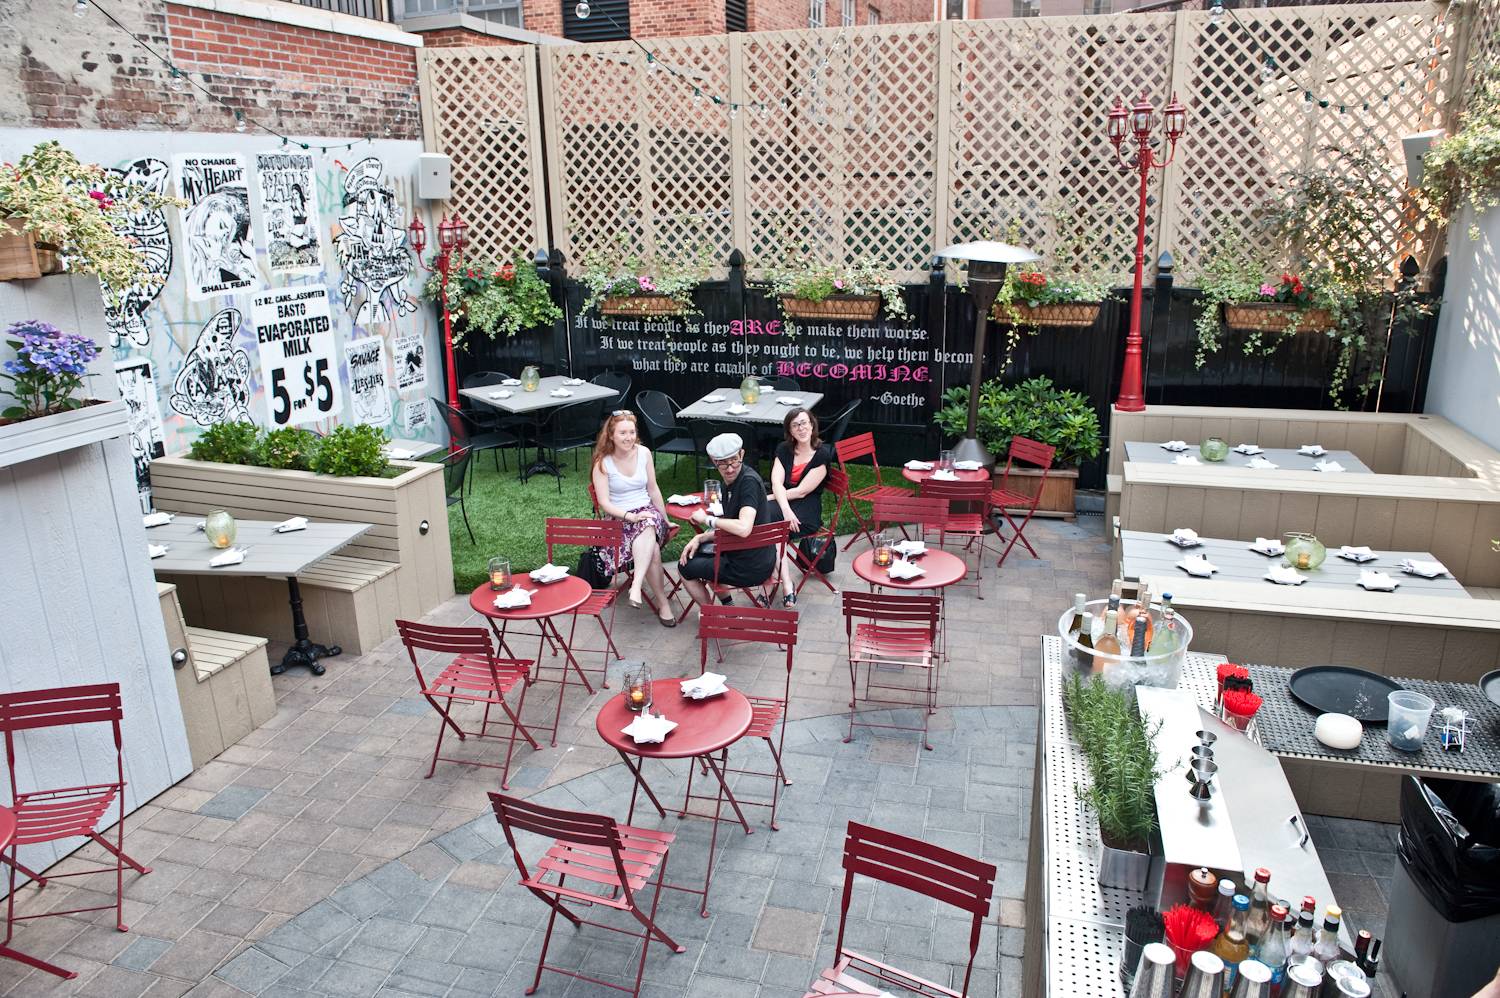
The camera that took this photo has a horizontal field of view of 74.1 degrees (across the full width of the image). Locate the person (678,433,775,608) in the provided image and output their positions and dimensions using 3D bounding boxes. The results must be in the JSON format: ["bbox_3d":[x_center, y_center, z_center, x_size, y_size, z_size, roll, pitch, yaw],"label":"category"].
[{"bbox_3d":[-0.191,0.373,8.768,0.896,1.795,0.733,0,12,-33],"label":"person"}]

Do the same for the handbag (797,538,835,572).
[{"bbox_3d":[0.655,0.508,9.760,0.394,0.561,0.310,0,2,-1],"label":"handbag"}]

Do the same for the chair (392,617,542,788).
[{"bbox_3d":[-2.159,1.600,7.557,0.722,1.339,0.937,4,26,8],"label":"chair"}]

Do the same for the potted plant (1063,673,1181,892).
[{"bbox_3d":[1.763,1.302,4.700,0.362,0.973,0.407,4,-9,-15],"label":"potted plant"}]

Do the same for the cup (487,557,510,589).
[{"bbox_3d":[-1.890,0.573,7.617,0.180,0.200,0.179,1,17,0],"label":"cup"}]

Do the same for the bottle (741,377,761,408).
[{"bbox_3d":[0.026,-1.208,11.297,0.173,0.254,0.385,1,17,6],"label":"bottle"}]

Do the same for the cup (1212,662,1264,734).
[{"bbox_3d":[2.651,1.076,5.376,0.222,0.164,0.364,2,20,11],"label":"cup"}]

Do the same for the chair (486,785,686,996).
[{"bbox_3d":[-0.981,2.390,5.922,0.769,1.264,0.877,5,25,13],"label":"chair"}]

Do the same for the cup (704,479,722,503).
[{"bbox_3d":[-0.331,-0.065,8.886,0.161,0.170,0.166,0,13,0],"label":"cup"}]

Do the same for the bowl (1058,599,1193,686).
[{"bbox_3d":[2.030,0.787,5.354,0.647,0.394,0.639,0,17,0],"label":"bowl"}]

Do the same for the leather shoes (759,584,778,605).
[{"bbox_3d":[0.169,0.915,9.362,0.173,0.248,0.230,1,0,-20],"label":"leather shoes"}]

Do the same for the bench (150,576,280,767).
[{"bbox_3d":[-4.037,1.239,7.499,0.293,1.345,0.725,7,18,23],"label":"bench"}]

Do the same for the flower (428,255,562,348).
[{"bbox_3d":[-3.248,-2.598,12.888,1.203,0.589,1.237,8,25,11],"label":"flower"}]

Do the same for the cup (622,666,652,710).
[{"bbox_3d":[-0.710,1.184,6.313,0.168,0.252,0.333,-2,17,-4],"label":"cup"}]

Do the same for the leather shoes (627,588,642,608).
[{"bbox_3d":[-0.984,0.864,8.627,0.073,0.100,0.226,5,21,-7],"label":"leather shoes"}]

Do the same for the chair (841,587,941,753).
[{"bbox_3d":[1.095,1.362,7.660,0.835,1.369,1.007,1,18,11],"label":"chair"}]

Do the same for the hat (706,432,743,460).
[{"bbox_3d":[-0.198,-0.423,8.611,0.273,0.246,0.363,-1,17,-2],"label":"hat"}]
